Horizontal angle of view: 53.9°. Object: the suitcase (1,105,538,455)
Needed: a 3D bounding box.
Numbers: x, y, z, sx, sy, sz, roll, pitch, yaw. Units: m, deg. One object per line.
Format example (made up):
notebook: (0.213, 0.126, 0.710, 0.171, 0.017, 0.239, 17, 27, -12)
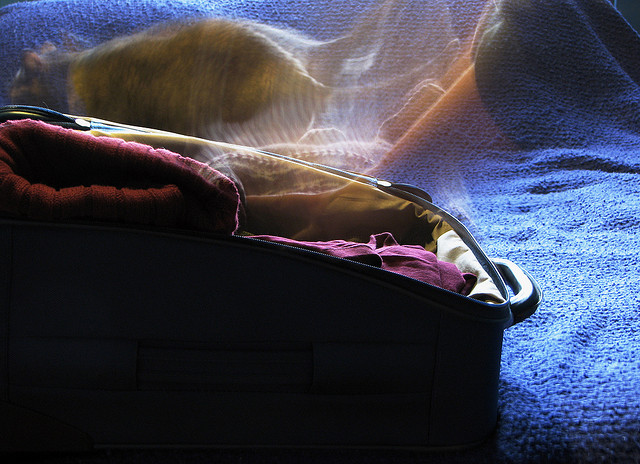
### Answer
suitcase: (-0.097, 0.061, 0.857, 0.803, 0.218, 0.413, 4, 14, -3)
